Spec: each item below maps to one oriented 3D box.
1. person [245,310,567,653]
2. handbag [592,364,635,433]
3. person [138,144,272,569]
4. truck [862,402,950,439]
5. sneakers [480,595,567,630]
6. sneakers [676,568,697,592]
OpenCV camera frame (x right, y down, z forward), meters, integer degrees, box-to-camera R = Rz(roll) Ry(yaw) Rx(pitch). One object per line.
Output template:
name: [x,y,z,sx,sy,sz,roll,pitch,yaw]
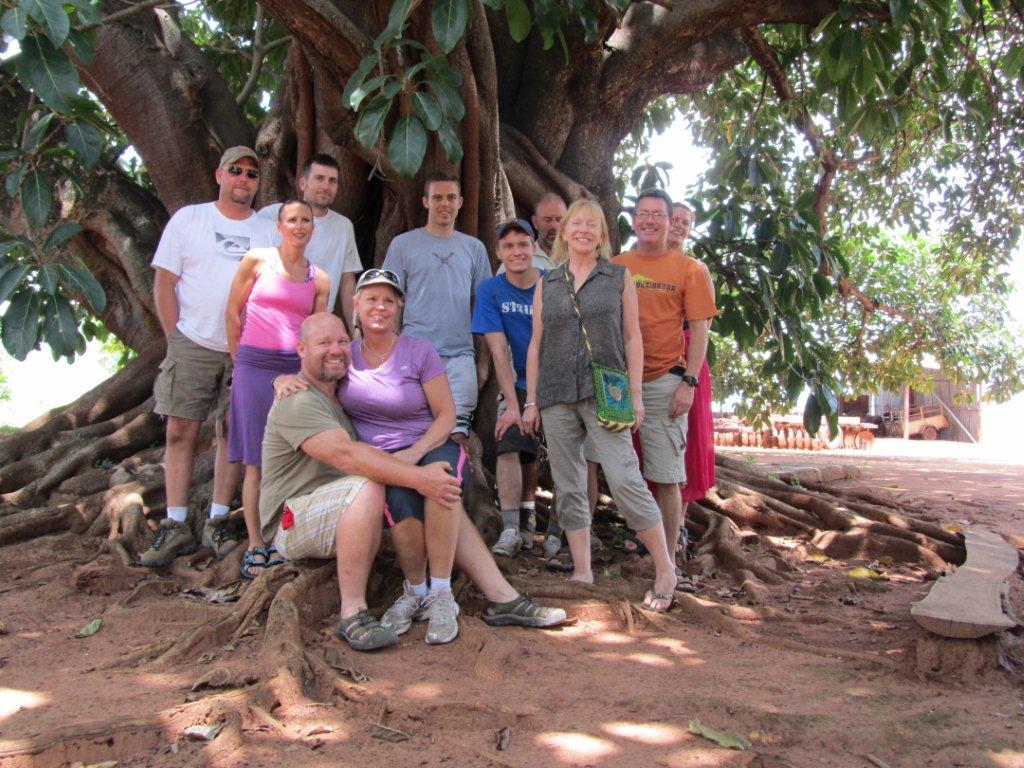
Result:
person: [-0.818,0.510,4.284,1.501,1.806,0.628,0,-2,17]
handbag: [0.602,0.104,4.552,0.333,0.430,0.122,11,-24,-40]
person: [-2.132,-0.178,5.159,0.808,2.853,0.632,-1,-2,39]
truck: [15.424,1.533,29.151,3.167,1.173,1.333,2,-2,-21]
sneakers: [0.070,1.326,4.413,0.462,0.180,0.191,0,-7,-3]
sneakers: [1.220,1.391,5.287,0.111,0.146,0.360,-15,-24,6]
